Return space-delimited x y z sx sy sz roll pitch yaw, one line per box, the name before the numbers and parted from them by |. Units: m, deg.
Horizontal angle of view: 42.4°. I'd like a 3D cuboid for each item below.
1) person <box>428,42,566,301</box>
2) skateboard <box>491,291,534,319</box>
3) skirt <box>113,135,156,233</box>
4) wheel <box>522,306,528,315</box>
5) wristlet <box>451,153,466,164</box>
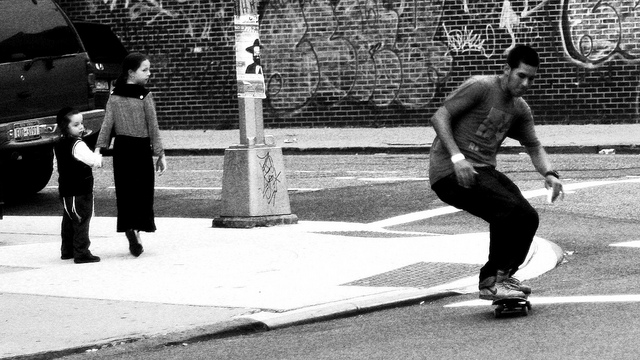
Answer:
person | 1.907 -0.072 8.995 1.373 2.679 0.921 -3 15 -1
skateboard | 2.097 1.351 9.083 0.399 0.176 0.632 -6 5 10
skirt | -2.519 0.064 11.193 0.554 1.341 0.384 -5 15 -8
wheel | 2.221 1.416 8.933 0.047 0.084 0.095 -1 -16 13
wristlet | 1.478 -0.233 8.846 0.117 0.072 0.117 -11 12 39
